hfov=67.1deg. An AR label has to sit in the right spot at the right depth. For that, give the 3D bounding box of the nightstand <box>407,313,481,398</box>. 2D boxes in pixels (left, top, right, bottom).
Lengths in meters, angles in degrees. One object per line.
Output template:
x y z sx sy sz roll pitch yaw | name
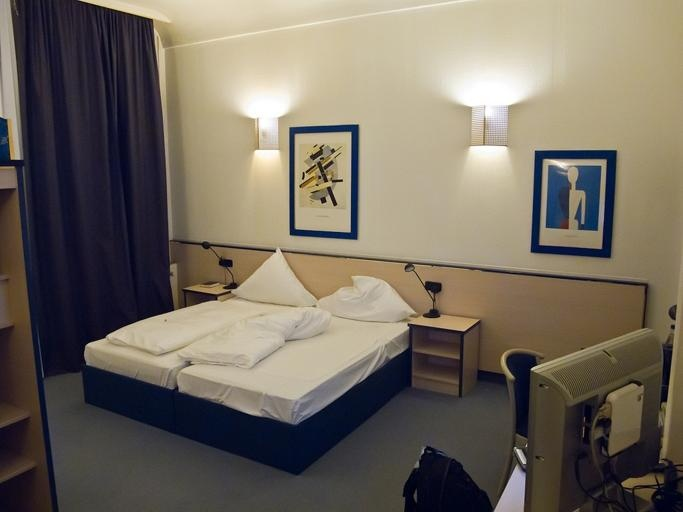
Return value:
0.919 0.869 4.654 0.530 0.621 0.408 6 13 37 | nightstand

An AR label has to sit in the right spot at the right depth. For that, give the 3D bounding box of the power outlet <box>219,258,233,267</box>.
-1.301 0.070 5.798 0.148 0.090 0.107 5 -11 4 | power outlet

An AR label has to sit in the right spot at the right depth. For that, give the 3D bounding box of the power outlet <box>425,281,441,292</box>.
0.843 0.277 4.733 0.123 0.098 0.030 4 1 36 | power outlet

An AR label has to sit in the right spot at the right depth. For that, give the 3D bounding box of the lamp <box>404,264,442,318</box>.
0.751 0.324 4.730 0.302 0.497 0.210 -3 0 -23 | lamp

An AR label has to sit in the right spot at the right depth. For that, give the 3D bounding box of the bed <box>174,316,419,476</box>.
-0.138 0.988 4.383 1.306 0.506 1.762 -1 3 33 | bed

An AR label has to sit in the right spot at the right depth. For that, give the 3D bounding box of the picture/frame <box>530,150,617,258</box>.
1.945 -0.454 4.250 0.759 1.174 0.072 3 7 28 | picture/frame
